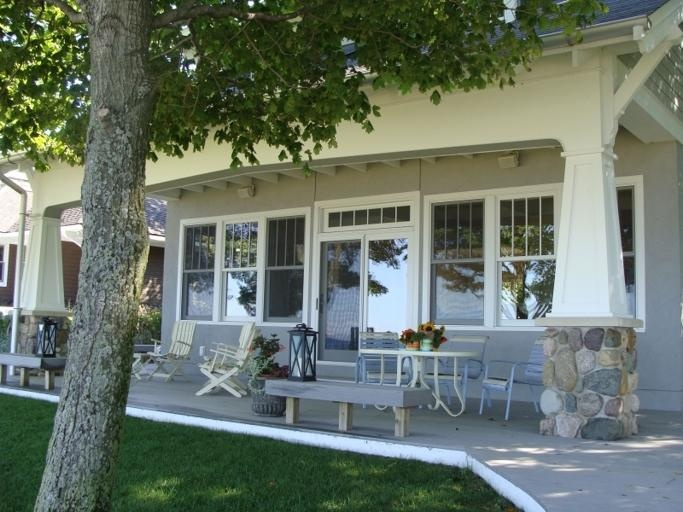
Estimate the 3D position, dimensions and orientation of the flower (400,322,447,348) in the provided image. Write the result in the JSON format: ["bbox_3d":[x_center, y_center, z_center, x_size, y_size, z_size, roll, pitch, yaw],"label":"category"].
[{"bbox_3d":[1.147,1.074,8.329,0.401,0.244,0.408,-6,-11,39],"label":"flower"}]

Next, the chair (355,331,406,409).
[{"bbox_3d":[0.534,1.477,9.060,0.800,1.277,0.892,1,-20,-2],"label":"chair"}]

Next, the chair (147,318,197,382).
[{"bbox_3d":[-3.122,1.738,11.653,0.689,1.088,0.791,1,-7,18],"label":"chair"}]

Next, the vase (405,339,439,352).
[{"bbox_3d":[1.044,1.156,8.222,0.390,0.129,0.165,-1,-2,7],"label":"vase"}]

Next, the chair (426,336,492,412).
[{"bbox_3d":[1.687,1.673,9.174,0.881,1.144,0.778,9,-9,-35],"label":"chair"}]

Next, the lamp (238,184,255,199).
[{"bbox_3d":[-1.837,-1.264,12.249,0.352,0.259,0.134,-2,-2,30],"label":"lamp"}]

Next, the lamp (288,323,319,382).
[{"bbox_3d":[-0.455,1.123,7.364,0.331,0.668,0.527,-1,-2,-5],"label":"lamp"}]

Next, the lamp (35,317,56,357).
[{"bbox_3d":[-4.947,1.365,10.570,0.285,0.634,0.593,0,-2,-28],"label":"lamp"}]

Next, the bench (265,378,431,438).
[{"bbox_3d":[0.051,1.641,7.001,1.745,0.564,0.481,-3,5,28],"label":"bench"}]

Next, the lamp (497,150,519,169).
[{"bbox_3d":[2.565,-1.478,9.709,0.369,0.286,0.212,-7,18,37],"label":"lamp"}]

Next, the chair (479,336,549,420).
[{"bbox_3d":[2.350,1.573,8.257,0.683,1.049,0.656,5,-9,-9],"label":"chair"}]

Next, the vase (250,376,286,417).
[{"bbox_3d":[-0.896,1.734,7.827,0.454,0.494,0.462,1,-3,-22],"label":"vase"}]
